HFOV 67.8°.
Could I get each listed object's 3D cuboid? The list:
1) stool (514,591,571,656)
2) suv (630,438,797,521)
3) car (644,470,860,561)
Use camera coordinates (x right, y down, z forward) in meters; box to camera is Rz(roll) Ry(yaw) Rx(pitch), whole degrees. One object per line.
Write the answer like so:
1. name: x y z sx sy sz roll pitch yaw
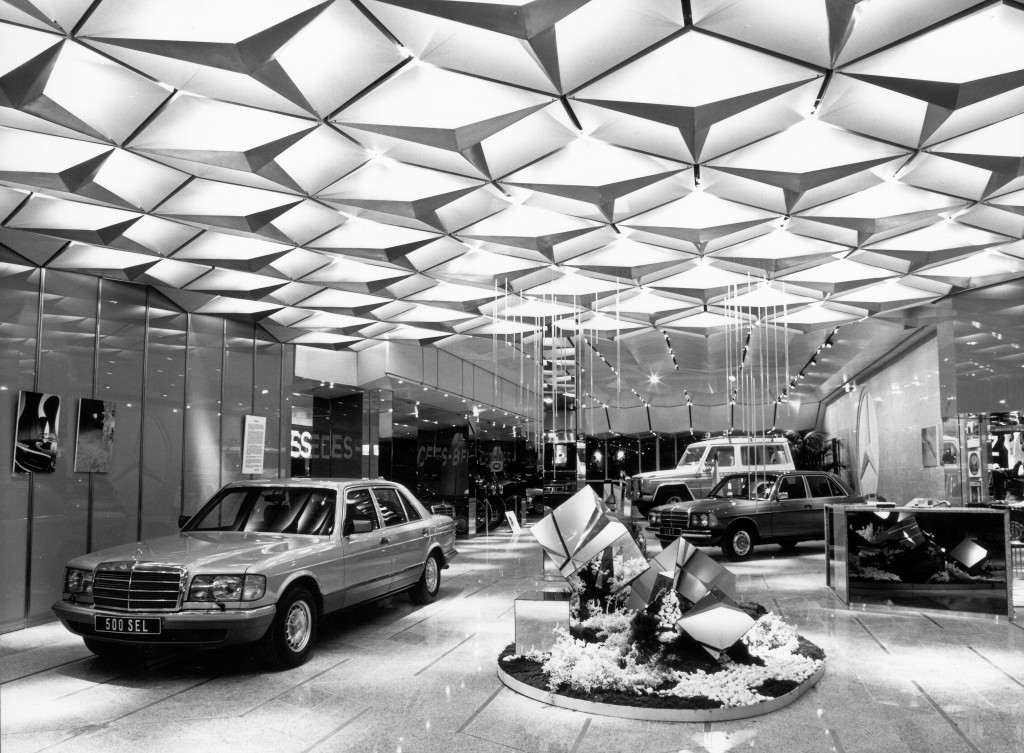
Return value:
1. stool: 0.370 2.795 8.848 0.769 0.579 0.667 1 7 17
2. suv: 6.405 3.016 22.709 4.874 1.905 2.737 1 -8 -3
3. car: 5.832 3.240 18.445 6.046 1.617 2.520 4 -10 -28
